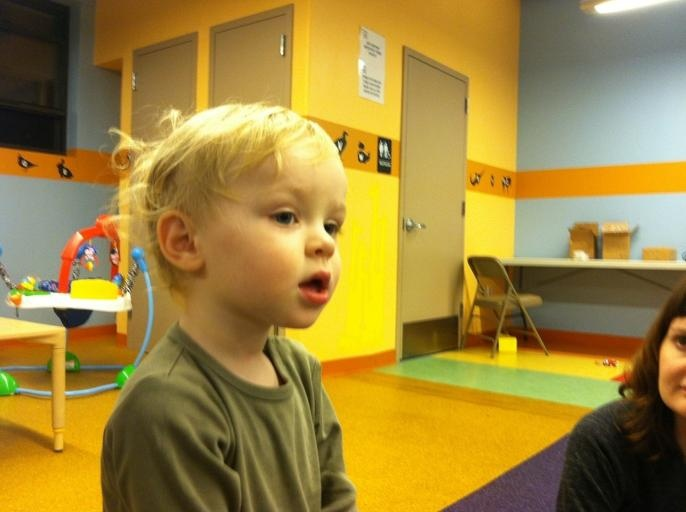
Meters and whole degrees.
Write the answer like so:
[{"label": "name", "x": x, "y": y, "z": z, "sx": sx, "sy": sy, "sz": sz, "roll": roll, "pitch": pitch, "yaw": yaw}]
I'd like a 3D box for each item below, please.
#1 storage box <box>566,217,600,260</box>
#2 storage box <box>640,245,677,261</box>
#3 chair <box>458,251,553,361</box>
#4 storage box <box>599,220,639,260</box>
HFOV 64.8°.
[{"label": "storage box", "x": 2.476, "y": -0.143, "z": 5.621, "sx": 0.244, "sy": 0.418, "sz": 0.207, "roll": -5, "pitch": -19, "yaw": 40}, {"label": "storage box", "x": 3.022, "y": -0.013, "z": 5.162, "sx": 0.275, "sy": 0.122, "sz": 0.164, "roll": 2, "pitch": 2, "yaw": 28}, {"label": "chair", "x": 1.543, "y": 0.458, "z": 5.164, "sx": 0.630, "sy": 0.965, "sz": 0.571, "roll": -1, "pitch": 3, "yaw": -12}, {"label": "storage box", "x": 2.724, "y": -0.148, "z": 5.421, "sx": 0.234, "sy": 0.374, "sz": 0.211, "roll": 2, "pitch": 2, "yaw": 19}]
